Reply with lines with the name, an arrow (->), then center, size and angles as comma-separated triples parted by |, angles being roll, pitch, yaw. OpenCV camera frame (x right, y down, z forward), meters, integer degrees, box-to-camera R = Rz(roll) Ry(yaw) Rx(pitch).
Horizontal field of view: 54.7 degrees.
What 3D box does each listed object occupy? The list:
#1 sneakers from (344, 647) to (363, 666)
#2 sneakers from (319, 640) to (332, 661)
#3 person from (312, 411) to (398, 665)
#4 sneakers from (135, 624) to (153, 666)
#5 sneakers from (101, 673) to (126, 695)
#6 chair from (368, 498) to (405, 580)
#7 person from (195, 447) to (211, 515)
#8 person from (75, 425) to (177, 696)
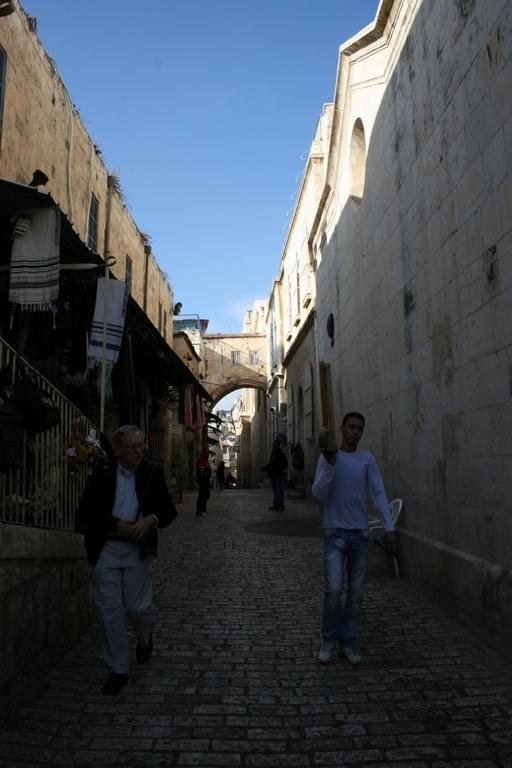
sneakers -> 0.608, 1.698, 3.097 | 0.044, 0.079, 0.158 | 0, -17, -4
sneakers -> 0.437, 1.692, 3.137 | 0.086, 0.101, 0.154 | -2, -11, 15
person -> 0.636, 0.979, 3.256 | 0.504, 1.569, 0.298 | -1, -8, 10
sneakers -> -0.688, 1.636, 3.081 | 0.073, 0.327, 0.094 | 1, -2, 22
sneakers -> -0.732, 1.544, 2.581 | 0.058, 0.078, 0.155 | 8, -18, 3
chair -> 1.630, 2.012, 6.584 | 0.535, 1.005, 0.579 | 1, -4, -39
person -> -1.522, 2.802, 14.292 | 0.337, 1.840, 1.398 | 1, -10, -7
person -> -0.739, 0.995, 2.832 | 0.363, 1.506, 0.401 | 2, 3, -28
